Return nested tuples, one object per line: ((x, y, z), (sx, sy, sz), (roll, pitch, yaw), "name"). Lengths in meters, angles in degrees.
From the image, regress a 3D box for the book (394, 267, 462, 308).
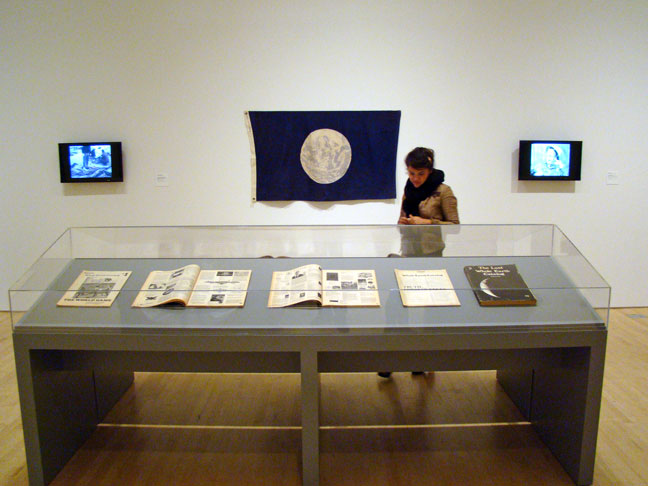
((0.653, 0.293, 3.134), (0.388, 0.187, 0.263), (0, 10, -4), "book")

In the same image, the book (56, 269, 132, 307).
((-1.467, 0.298, 3.153), (0.383, 0.186, 0.230), (0, 10, -4), "book")

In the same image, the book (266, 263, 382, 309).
((0.005, 0.280, 3.122), (0.703, 0.218, 0.281), (1, 10, 2), "book")
